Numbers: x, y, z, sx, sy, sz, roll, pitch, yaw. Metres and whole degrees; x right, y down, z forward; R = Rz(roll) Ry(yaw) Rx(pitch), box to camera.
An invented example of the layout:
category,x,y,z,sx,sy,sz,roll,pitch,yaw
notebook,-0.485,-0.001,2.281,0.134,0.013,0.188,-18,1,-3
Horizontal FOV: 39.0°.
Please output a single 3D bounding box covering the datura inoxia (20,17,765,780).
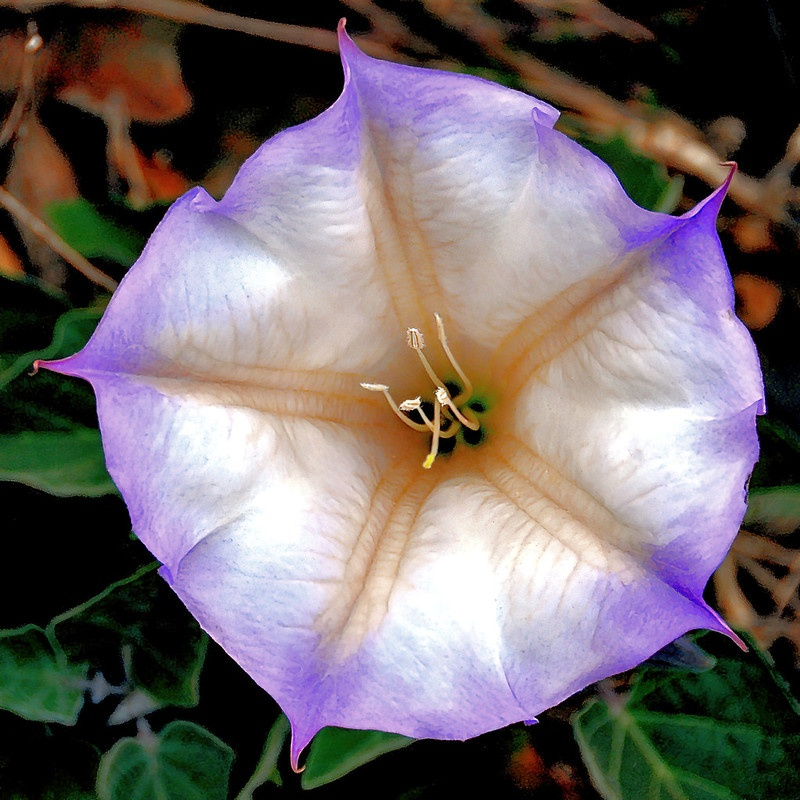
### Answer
category,x,y,z,sx,sy,sz,roll,pitch,yaw
datura inoxia,0.118,-0.023,1.342,0.346,0.818,0.732,-62,2,39
